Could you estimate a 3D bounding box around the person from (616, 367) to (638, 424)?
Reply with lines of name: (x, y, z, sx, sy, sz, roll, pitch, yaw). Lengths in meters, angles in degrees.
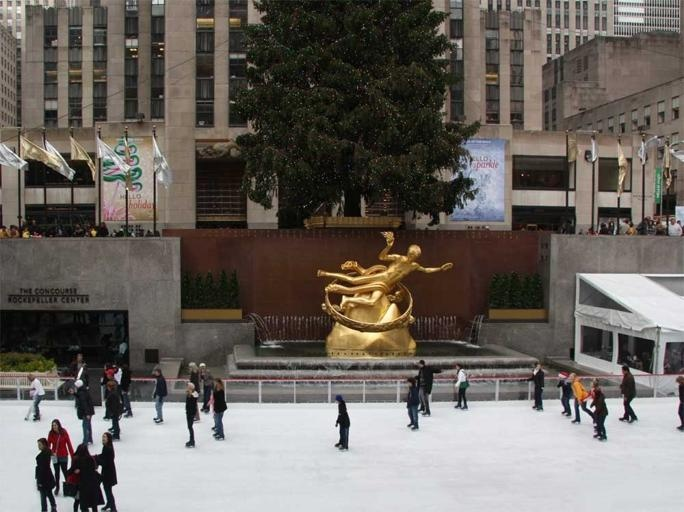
person: (17.263, 8.343, 95.422, 0.994, 3.380, 0.843, -1, 2, 10)

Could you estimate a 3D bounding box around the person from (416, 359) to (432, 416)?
person: (5.050, 7.972, 95.533, 0.846, 3.409, 0.830, -1, 2, 4)

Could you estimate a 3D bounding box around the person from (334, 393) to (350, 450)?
person: (0.075, 9.711, 92.538, 0.807, 3.209, 1.037, -1, 2, 0)

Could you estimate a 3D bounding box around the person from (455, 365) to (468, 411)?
person: (7.405, 8.036, 96.713, 0.773, 2.701, 0.706, -2, 2, -33)

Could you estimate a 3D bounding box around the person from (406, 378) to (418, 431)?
person: (4.288, 8.763, 94.249, 0.684, 3.142, 1.398, -1, 2, 3)
